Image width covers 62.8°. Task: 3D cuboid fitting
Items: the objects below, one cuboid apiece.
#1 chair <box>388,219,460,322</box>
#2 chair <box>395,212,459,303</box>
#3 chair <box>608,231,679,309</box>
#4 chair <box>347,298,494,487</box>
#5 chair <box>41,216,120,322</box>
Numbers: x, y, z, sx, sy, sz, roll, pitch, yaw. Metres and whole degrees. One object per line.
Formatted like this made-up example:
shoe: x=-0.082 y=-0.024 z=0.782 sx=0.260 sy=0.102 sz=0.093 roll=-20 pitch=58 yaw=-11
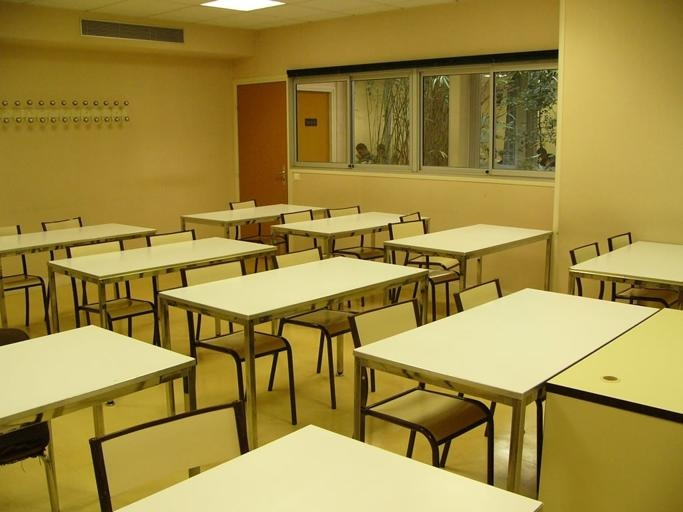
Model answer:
chair: x=0.831 y=0.198 z=5.576 sx=0.499 sy=1.073 sz=0.613 roll=-8 pitch=10 yaw=-25
chair: x=0.857 y=0.119 z=5.633 sx=0.464 sy=1.001 sz=0.533 roll=-15 pitch=15 yaw=-38
chair: x=2.415 y=0.117 z=4.469 sx=0.426 sy=0.899 sz=0.446 roll=-12 pitch=14 yaw=-43
chair: x=0.416 y=0.805 z=2.967 sx=0.514 sy=1.020 sz=0.616 roll=-7 pitch=9 yaw=-39
chair: x=-2.994 y=0.023 z=6.478 sx=0.507 sy=0.974 sz=0.593 roll=-17 pitch=13 yaw=-4
